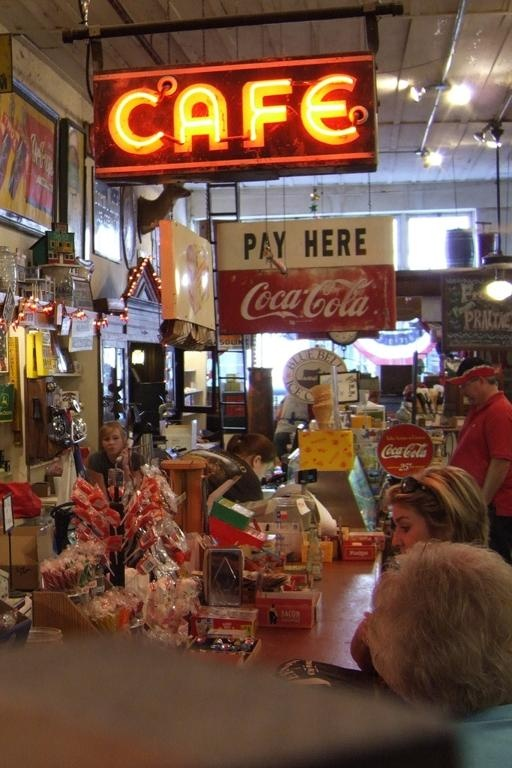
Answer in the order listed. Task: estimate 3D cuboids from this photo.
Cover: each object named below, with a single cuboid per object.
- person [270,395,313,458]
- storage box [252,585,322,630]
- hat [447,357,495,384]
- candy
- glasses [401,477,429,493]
[{"bbox_3d":[0.497,0.572,8.533,0.528,0.809,1.208,-2,0,2],"label":"person"},{"bbox_3d":[0.123,0.840,2.318,0.257,0.133,0.125,-2,0,-6],"label":"storage box"},{"bbox_3d":[1.486,-0.082,4.214,0.273,0.142,0.170,1,0,16],"label":"hat"},{"bbox_3d":[-0.337,0.582,1.991,0.682,0.518,0.663,-2,0,-20],"label":"candy"},{"bbox_3d":[0.554,0.362,2.168,0.073,0.041,0.053,15,-18,-22],"label":"glasses"}]
